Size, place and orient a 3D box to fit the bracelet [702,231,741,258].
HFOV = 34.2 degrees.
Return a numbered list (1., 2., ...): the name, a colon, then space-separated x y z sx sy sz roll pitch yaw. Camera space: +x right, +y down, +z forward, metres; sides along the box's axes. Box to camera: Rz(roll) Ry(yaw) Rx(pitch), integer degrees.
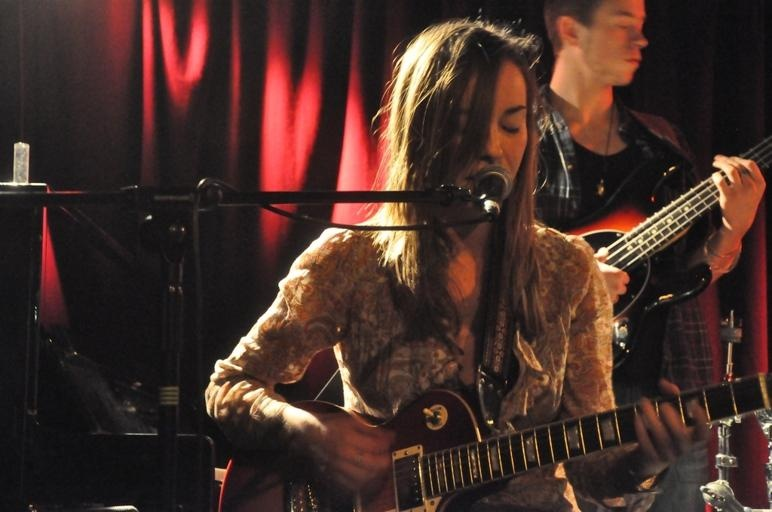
1. bracelet: 1.340 -0.042 5.027 0.128 0.091 0.089 4 1 -13
